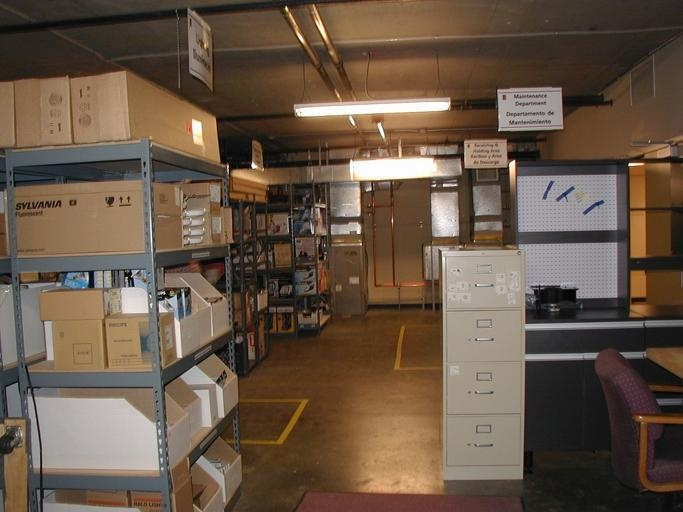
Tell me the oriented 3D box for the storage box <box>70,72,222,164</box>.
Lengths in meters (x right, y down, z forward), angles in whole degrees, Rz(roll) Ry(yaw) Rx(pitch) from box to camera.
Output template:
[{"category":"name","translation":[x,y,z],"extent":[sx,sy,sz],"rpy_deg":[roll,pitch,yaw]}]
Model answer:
[{"category":"storage box","translation":[-1.384,-1.013,4.559],"extent":[0.419,0.588,1.031],"rpy_deg":[6,12,37]}]

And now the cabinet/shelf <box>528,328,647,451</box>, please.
[{"category":"cabinet/shelf","translation":[2.012,1.030,5.101],"extent":[1.035,0.961,0.344],"rpy_deg":[-1,0,2]}]
